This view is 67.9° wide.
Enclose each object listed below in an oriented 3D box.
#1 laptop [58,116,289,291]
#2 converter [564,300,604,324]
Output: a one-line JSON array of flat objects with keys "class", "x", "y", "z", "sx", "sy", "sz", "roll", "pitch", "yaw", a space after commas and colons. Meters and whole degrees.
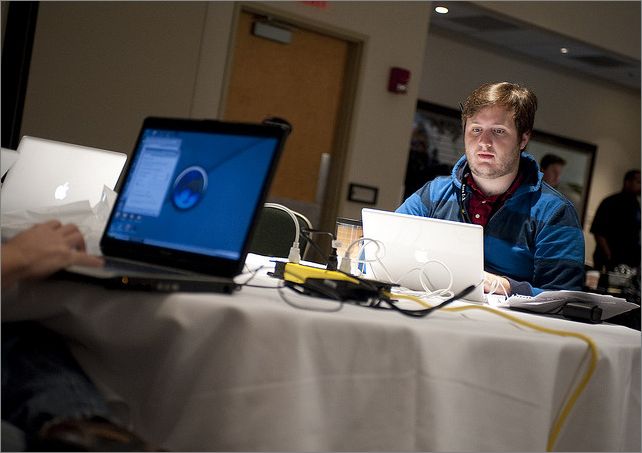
[{"class": "laptop", "x": -0.408, "y": -0.061, "z": 1.023, "sx": 0.519, "sy": 0.378, "sz": 0.440, "roll": 9, "pitch": 7, "yaw": 34}, {"class": "converter", "x": 0.685, "y": 0.213, "z": 1.238, "sx": 0.074, "sy": 0.039, "sz": 0.054, "roll": 7, "pitch": -1, "yaw": 26}]
